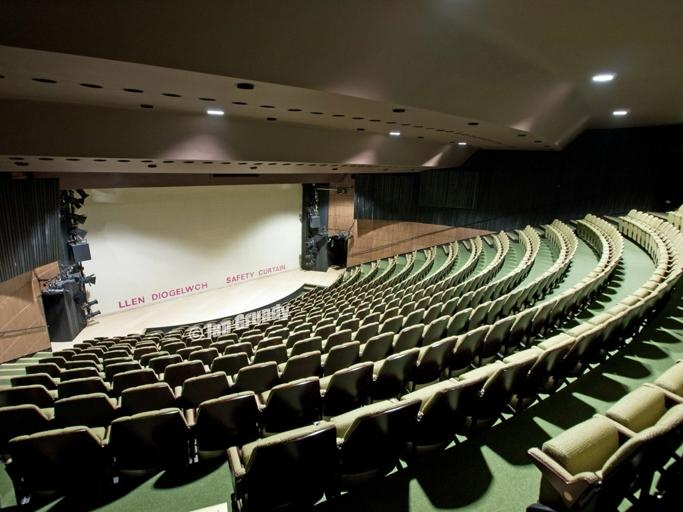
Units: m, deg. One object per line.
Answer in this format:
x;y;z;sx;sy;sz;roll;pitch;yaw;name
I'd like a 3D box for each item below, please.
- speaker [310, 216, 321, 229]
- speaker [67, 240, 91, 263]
-0.986;-1.256;15.192;0.233;0.385;0.412;8;11;41;speaker
-5.769;-0.104;9.040;0.207;0.373;0.402;17;25;36;speaker
